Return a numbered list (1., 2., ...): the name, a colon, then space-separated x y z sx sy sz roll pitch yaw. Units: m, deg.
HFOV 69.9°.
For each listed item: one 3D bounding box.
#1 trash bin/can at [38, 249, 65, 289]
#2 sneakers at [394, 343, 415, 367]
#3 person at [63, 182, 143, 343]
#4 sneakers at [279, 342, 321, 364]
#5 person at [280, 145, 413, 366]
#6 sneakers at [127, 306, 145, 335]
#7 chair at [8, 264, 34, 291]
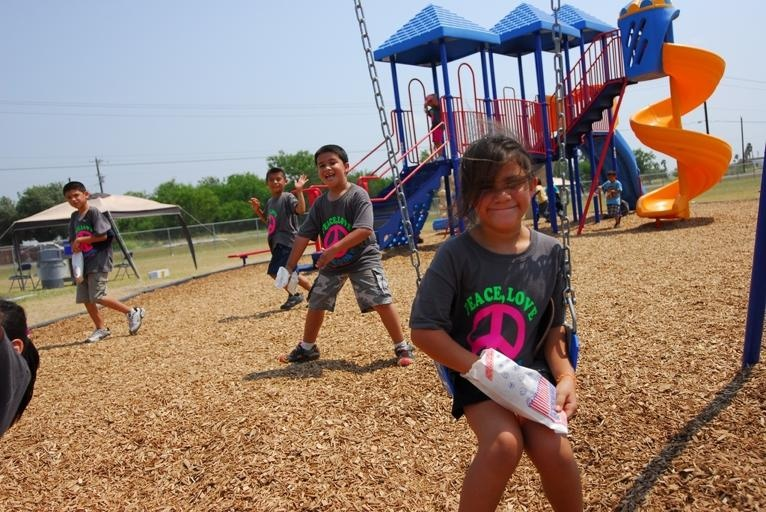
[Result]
1. trash bin/can: -9.558 0.320 15.845 0.671 1.150 0.799 -11 10 -33
2. sneakers: 0.205 0.898 5.020 0.103 0.166 0.262 -8 -12 -2
3. person: -3.504 0.067 6.815 0.670 1.994 0.581 -10 10 -30
4. sneakers: -0.769 0.916 5.239 0.423 0.200 0.162 -1 1 -5
5. person: -0.337 0.003 5.107 1.146 2.086 0.746 -2 0 4
6. sneakers: -3.254 0.805 7.237 0.195 0.443 0.157 17 -33 -20
7. chair: -11.388 0.686 17.301 0.709 0.996 0.698 -1 0 19
